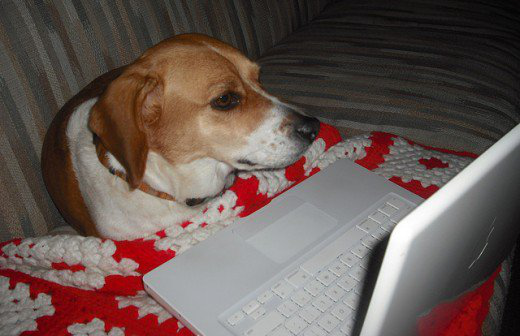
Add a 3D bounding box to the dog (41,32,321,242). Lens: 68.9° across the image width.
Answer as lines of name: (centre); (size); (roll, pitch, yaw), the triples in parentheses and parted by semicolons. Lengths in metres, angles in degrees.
dog: (-0.395, -0.057, 1.856); (1.134, 0.768, 0.935); (16, 49, 9)
